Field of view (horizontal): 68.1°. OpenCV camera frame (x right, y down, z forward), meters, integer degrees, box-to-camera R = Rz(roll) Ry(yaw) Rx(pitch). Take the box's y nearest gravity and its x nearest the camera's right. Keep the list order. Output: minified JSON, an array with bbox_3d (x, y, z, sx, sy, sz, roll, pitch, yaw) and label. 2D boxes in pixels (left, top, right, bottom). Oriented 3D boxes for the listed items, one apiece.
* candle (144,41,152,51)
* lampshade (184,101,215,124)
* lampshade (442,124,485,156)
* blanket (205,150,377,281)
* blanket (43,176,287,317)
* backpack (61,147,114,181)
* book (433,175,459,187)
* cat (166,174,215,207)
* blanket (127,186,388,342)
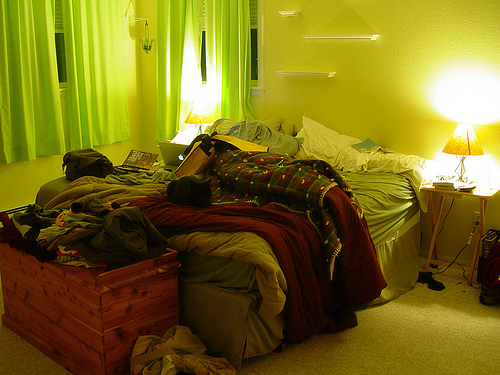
[{"bbox_3d":[-1.276,-1.767,4.594,0.090,0.138,0.088,-6,19,-23],"label":"candle"},{"bbox_3d":[-0.626,-0.921,4.523,0.376,0.232,0.346,1,21,-23],"label":"lampshade"},{"bbox_3d":[1.827,-0.426,3.178,0.343,0.243,0.324,-5,15,10],"label":"lampshade"},{"bbox_3d":[0.202,0.099,2.716,1.116,0.513,0.793,17,28,31],"label":"blanket"},{"bbox_3d":[-0.342,0.308,2.335,1.036,0.311,1.046,13,21,32],"label":"blanket"},{"bbox_3d":[-1.422,-0.175,3.251,0.398,0.226,0.327,-4,3,-10],"label":"backpack"},{"bbox_3d":[1.695,-0.057,3.206,0.146,0.035,0.153,8,14,39],"label":"book"},{"bbox_3d":[-0.416,0.008,2.563,0.201,0.166,0.292,-11,30,-41],"label":"cat"},{"bbox_3d":[0.105,0.585,2.806,1.335,0.630,1.412,-2,-9,-26],"label":"blanket"}]
